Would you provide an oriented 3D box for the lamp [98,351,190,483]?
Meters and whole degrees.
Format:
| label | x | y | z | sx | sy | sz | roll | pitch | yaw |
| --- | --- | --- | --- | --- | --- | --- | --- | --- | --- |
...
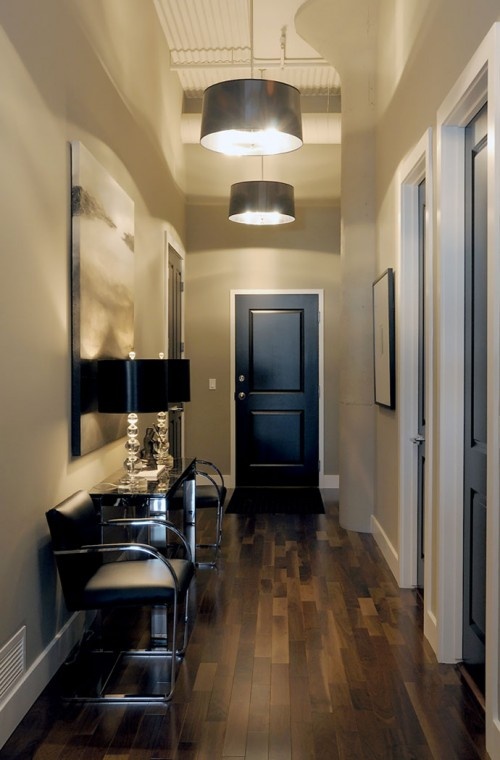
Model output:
| label | x | y | z | sx | sy | sz | roll | pitch | yaw |
| --- | --- | --- | --- | --- | --- | --- | --- | --- | --- |
| lamp | -0.573 | 0.102 | 2.953 | 0.340 | 0.943 | 0.682 | 0 | -1 | -8 |

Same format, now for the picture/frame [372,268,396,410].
| label | x | y | z | sx | sy | sz | roll | pitch | yaw |
| --- | --- | --- | --- | --- | --- | --- | --- | --- | --- |
| picture/frame | 0.887 | -0.242 | 3.646 | 0.026 | 0.825 | 0.506 | 3 | 6 | 33 |

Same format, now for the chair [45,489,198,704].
| label | x | y | z | sx | sy | sz | roll | pitch | yaw |
| --- | --- | --- | --- | --- | --- | --- | --- | --- | --- |
| chair | -0.489 | 0.847 | 2.325 | 0.492 | 0.747 | 0.874 | -1 | -2 | 0 |
